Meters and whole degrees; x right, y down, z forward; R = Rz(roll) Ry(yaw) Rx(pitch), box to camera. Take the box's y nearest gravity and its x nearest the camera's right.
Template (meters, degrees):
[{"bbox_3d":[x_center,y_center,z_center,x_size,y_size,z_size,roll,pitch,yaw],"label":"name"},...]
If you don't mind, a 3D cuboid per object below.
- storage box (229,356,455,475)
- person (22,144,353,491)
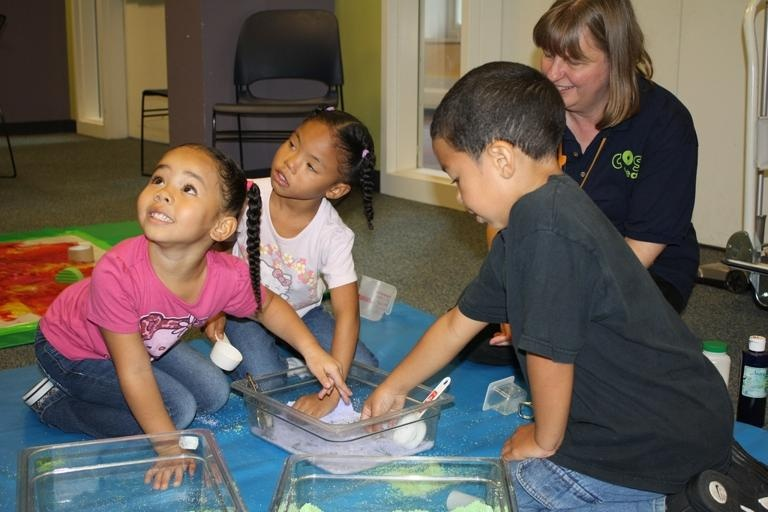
[{"bbox_3d":[-0.144,0.330,1.496,0.341,0.116,0.290,8,11,43],"label":"storage box"},{"bbox_3d":[-0.464,0.165,1.515,0.889,0.805,0.504,11,8,0],"label":"person"}]
